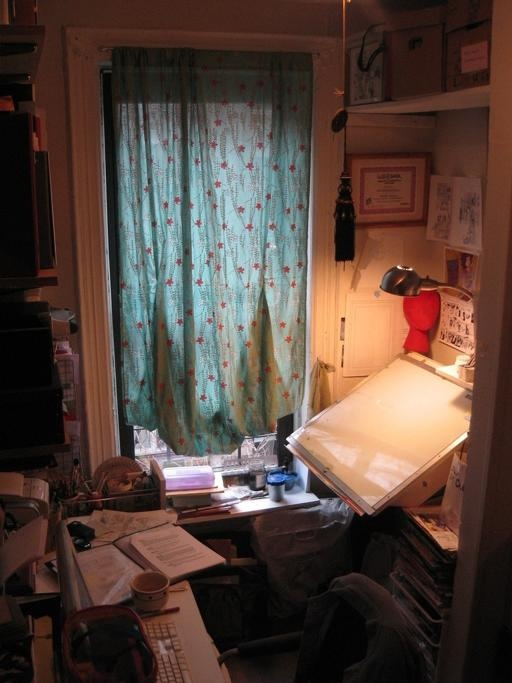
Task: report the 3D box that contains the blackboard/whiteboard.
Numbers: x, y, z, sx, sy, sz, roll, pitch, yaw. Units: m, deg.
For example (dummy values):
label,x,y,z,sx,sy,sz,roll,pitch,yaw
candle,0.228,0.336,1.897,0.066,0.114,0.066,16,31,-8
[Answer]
label,x,y,z,sx,sy,sz,roll,pitch,yaw
blackboard/whiteboard,0.572,0.357,2.458,0.682,0.396,0.702,-7,15,-22

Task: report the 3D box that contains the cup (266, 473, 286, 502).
label,x,y,z,sx,sy,sz,roll,pitch,yaw
cup,0.103,0.738,2.891,0.104,0.128,0.125,0,10,1

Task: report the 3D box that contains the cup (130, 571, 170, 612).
label,x,y,z,sx,sy,sz,roll,pitch,yaw
cup,-0.312,0.712,1.669,0.100,0.082,0.096,0,4,0

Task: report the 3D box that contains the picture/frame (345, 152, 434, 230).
label,x,y,z,sx,sy,sz,roll,pitch,yaw
picture/frame,0.628,-0.737,2.727,0.405,0.337,0.031,-4,16,-11
